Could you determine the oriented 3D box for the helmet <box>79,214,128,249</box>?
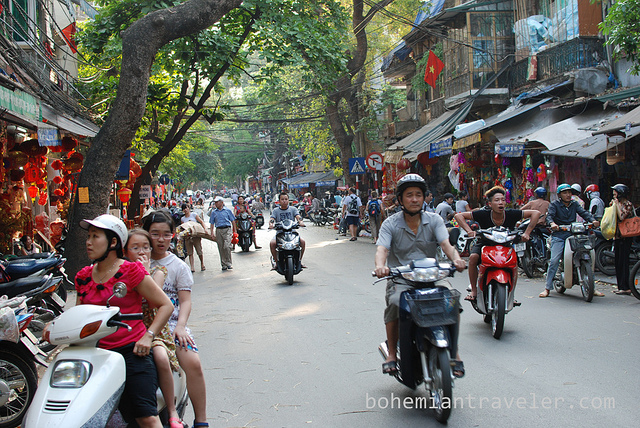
[{"bbox_3d":[-2.007,0.141,5.182,0.399,0.213,0.269,26,-17,-32],"label":"helmet"}]

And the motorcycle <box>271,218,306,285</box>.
[{"bbox_3d":[-0.707,0.852,12.623,0.593,1.322,0.948,-3,1,-4],"label":"motorcycle"}]

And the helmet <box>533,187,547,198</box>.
[{"bbox_3d":[5.070,-0.510,12.687,0.194,0.226,0.268,9,9,-2],"label":"helmet"}]

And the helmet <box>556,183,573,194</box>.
[{"bbox_3d":[4.577,-0.494,10.411,0.245,0.179,0.353,-4,-10,-5],"label":"helmet"}]

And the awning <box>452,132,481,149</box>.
[{"bbox_3d":[4.607,-2.299,17.303,0.187,0.341,1.312,-3,0,-21],"label":"awning"}]

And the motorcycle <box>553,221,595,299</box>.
[{"bbox_3d":[4.690,0.833,10.199,0.598,0.933,0.850,-4,1,-44],"label":"motorcycle"}]

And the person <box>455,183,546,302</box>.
[{"bbox_3d":[2.964,0.683,9.102,1.139,1.527,2.357,4,6,20],"label":"person"}]

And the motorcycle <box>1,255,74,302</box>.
[{"bbox_3d":[-4.417,0.991,8.545,1.124,0.728,0.537,1,1,-11],"label":"motorcycle"}]

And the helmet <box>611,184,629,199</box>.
[{"bbox_3d":[5.853,-0.438,10.753,0.274,0.293,0.219,9,-4,13],"label":"helmet"}]

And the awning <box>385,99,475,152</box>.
[{"bbox_3d":[4.366,-3.287,21.579,2.347,1.466,4.256,-3,0,-8],"label":"awning"}]

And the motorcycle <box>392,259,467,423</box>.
[{"bbox_3d":[1.188,1.344,6.045,0.721,1.379,0.567,-3,1,20],"label":"motorcycle"}]
